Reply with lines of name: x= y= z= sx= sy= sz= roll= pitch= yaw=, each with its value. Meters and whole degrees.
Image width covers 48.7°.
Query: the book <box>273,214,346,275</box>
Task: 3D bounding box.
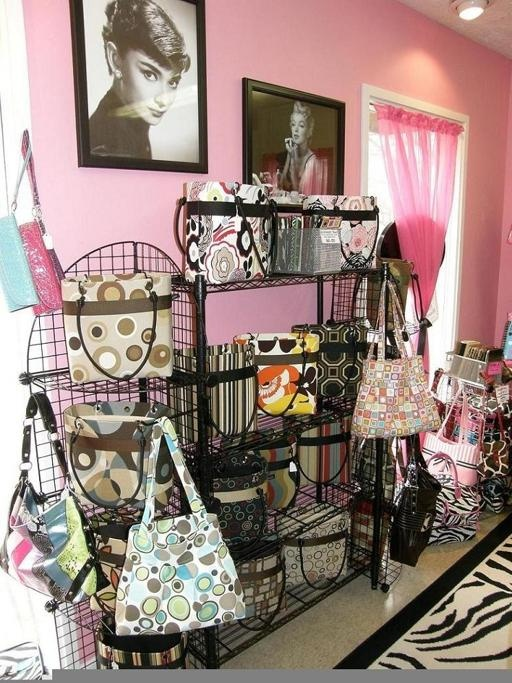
book: x=0.164 y=-0.328 z=1.896 sx=0.198 sy=0.193 sz=0.204 roll=12 pitch=19 yaw=39
